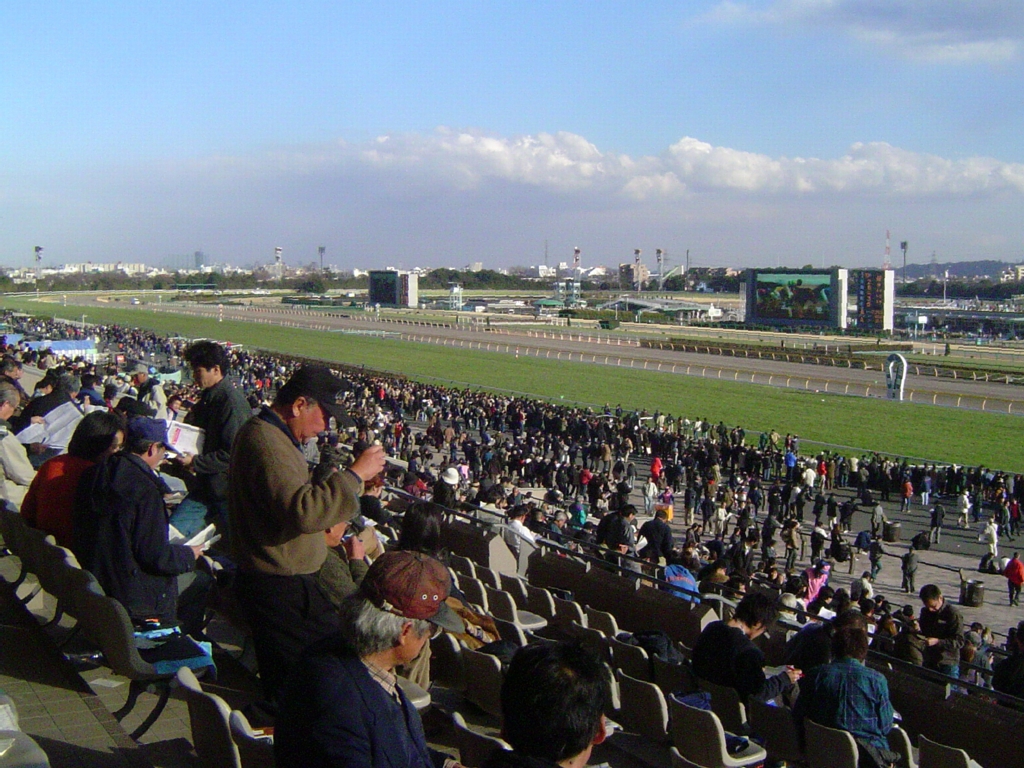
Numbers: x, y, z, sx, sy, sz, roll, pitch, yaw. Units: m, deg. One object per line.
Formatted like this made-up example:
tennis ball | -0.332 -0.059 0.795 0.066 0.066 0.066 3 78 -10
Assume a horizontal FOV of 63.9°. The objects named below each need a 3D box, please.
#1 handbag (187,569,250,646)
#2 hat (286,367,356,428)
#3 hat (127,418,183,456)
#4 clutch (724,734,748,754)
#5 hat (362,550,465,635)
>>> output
handbag | -2.075 1.558 5.839 0.329 0.480 1.049 -1 8 -21
hat | -0.965 0.083 4.231 0.351 0.188 0.242 32 8 -19
hat | -2.494 0.374 5.748 0.158 0.242 0.236 25 44 31
clutch | 1.376 2.197 5.055 0.093 0.038 0.096 -7 17 -38
hat | -0.370 0.838 3.226 0.371 0.204 0.268 19 17 -27
